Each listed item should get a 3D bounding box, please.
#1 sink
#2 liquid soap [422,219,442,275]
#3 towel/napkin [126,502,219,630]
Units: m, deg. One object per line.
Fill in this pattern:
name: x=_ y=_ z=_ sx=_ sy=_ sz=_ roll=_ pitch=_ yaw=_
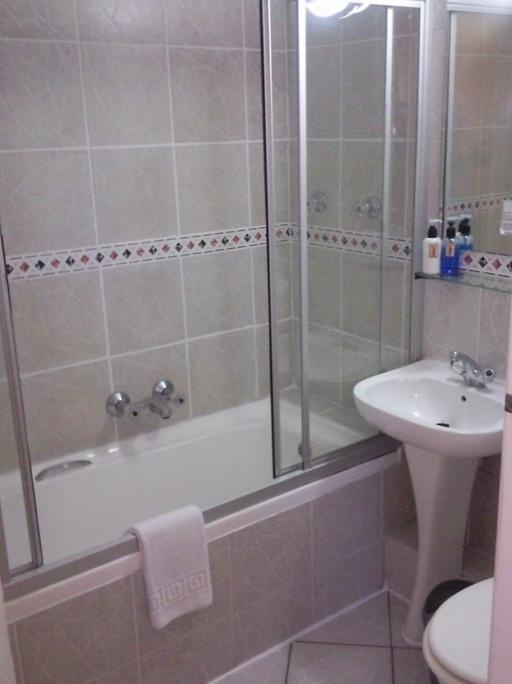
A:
sink: x=0.581 y=0.200 z=1.824 sx=0.436 sy=0.144 sz=0.543 roll=-8 pitch=14 yaw=-30
liquid soap: x=0.580 y=-0.304 z=1.951 sx=0.070 sy=0.157 sz=0.063 roll=7 pitch=14 yaw=32
towel/napkin: x=-0.214 y=0.588 z=1.550 sx=0.216 sy=0.296 sz=0.097 roll=-13 pitch=7 yaw=-39
